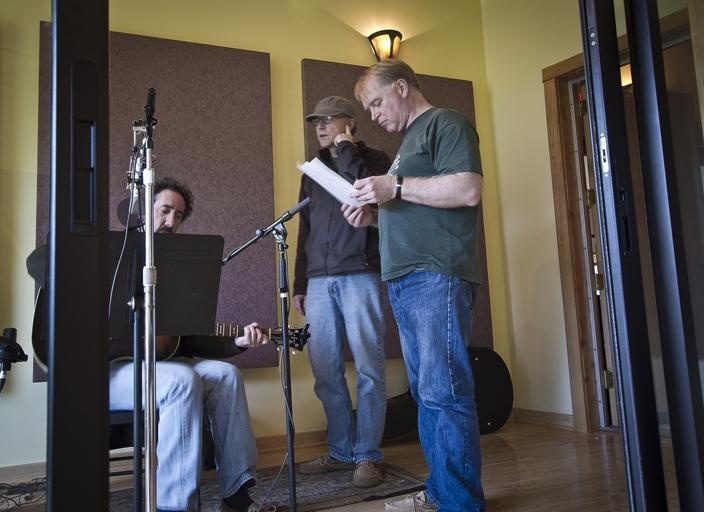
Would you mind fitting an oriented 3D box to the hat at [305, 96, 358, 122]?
[{"bbox_3d":[-0.098,-0.853,3.797,0.204,0.104,0.163,1,0,-18],"label":"hat"}]

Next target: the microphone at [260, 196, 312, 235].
[{"bbox_3d":[-0.371,-0.231,3.681,0.358,0.070,0.063,-35,38,-7],"label":"microphone"}]

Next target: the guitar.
[{"bbox_3d":[-0.792,0.366,2.902,1.188,0.592,0.173,3,1,-12],"label":"guitar"}]
